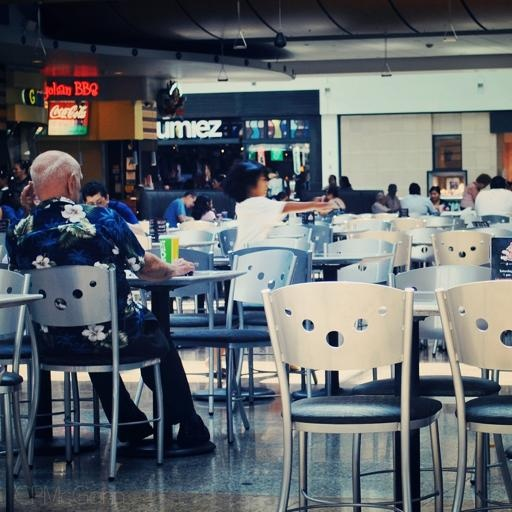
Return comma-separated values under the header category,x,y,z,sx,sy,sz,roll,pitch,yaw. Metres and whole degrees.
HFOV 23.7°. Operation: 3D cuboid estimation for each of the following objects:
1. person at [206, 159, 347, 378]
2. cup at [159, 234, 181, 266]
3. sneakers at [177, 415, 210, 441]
category,x,y,z,sx,sy,sz,roll,pitch,yaw
person,-0.058,-0.044,8.491,0.471,1.228,1.097,-10,15,-43
cup,-0.441,-0.031,6.371,0.120,0.196,0.127,1,1,0
sneakers,-0.322,0.905,6.411,0.156,0.180,0.105,-2,0,18
